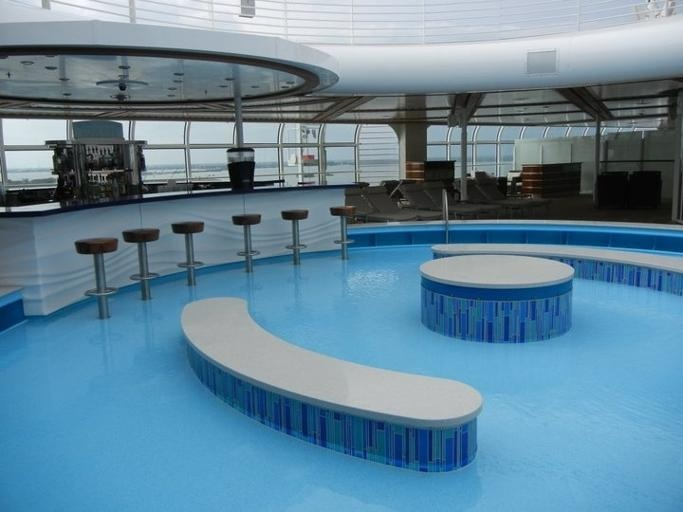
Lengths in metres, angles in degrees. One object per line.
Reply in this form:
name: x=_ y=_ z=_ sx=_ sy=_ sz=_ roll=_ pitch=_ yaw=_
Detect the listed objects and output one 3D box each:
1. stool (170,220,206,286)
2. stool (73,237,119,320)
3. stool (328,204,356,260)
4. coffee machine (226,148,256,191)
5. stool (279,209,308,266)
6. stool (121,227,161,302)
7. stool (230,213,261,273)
stool: x=-2.213 y=-0.081 z=7.168 sx=0.419 sy=0.919 sz=0.845 roll=-7 pitch=16 yaw=-15
stool: x=-2.866 y=0.215 z=5.820 sx=0.424 sy=0.943 sz=0.802 roll=-11 pitch=17 yaw=-25
stool: x=0.052 y=-0.406 z=8.641 sx=0.592 sy=0.879 sz=0.492 roll=0 pitch=1 yaw=-1
coffee machine: x=-1.845 y=-1.614 z=8.848 sx=0.475 sy=0.729 sz=0.448 roll=-3 pitch=16 yaw=-4
stool: x=-0.772 y=-0.349 z=8.313 sx=0.406 sy=0.966 sz=0.902 roll=-4 pitch=15 yaw=-5
stool: x=-2.548 y=0.096 z=6.311 sx=0.418 sy=0.949 sz=0.520 roll=-9 pitch=18 yaw=-21
stool: x=-1.512 y=-0.249 z=7.915 sx=0.406 sy=0.914 sz=0.826 roll=-6 pitch=15 yaw=-10
